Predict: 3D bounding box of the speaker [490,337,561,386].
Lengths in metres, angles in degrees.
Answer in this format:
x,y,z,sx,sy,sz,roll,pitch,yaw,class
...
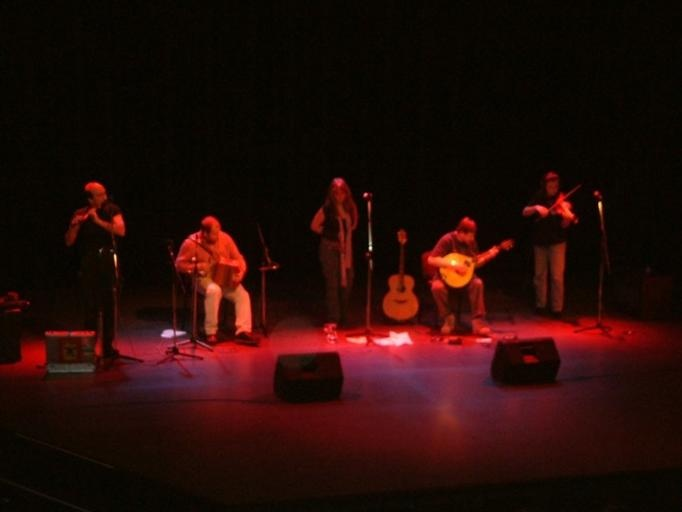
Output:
x,y,z,sx,sy,sz,roll,pitch,yaw,class
1.789,1.008,5.757,0.495,0.364,0.385,-4,13,-7,speaker

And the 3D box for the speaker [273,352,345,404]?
x,y,z,sx,sy,sz,roll,pitch,yaw,class
-0.297,1.072,5.192,0.532,0.383,0.429,1,-5,-17,speaker

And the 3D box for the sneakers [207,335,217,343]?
x,y,z,sx,sy,sz,roll,pitch,yaw,class
-1.475,0.975,6.799,0.086,0.094,0.150,16,-12,-32,sneakers

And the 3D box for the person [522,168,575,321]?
x,y,z,sx,sy,sz,roll,pitch,yaw,class
2.878,-0.149,8.177,0.610,1.979,0.923,4,10,17,person

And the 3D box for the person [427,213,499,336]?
x,y,z,sx,sy,sz,roll,pitch,yaw,class
1.506,0.243,7.497,0.947,1.461,0.880,2,10,8,person

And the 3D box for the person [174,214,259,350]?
x,y,z,sx,sy,sz,roll,pitch,yaw,class
-1.447,0.282,6.837,0.846,1.422,0.893,10,13,34,person

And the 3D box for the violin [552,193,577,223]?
x,y,z,sx,sy,sz,roll,pitch,yaw,class
2.965,-0.607,7.765,0.181,0.368,0.409,0,10,-6,violin

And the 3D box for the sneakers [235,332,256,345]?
x,y,z,sx,sy,sz,roll,pitch,yaw,class
-1.088,0.976,6.879,0.303,0.140,0.107,2,1,15,sneakers
